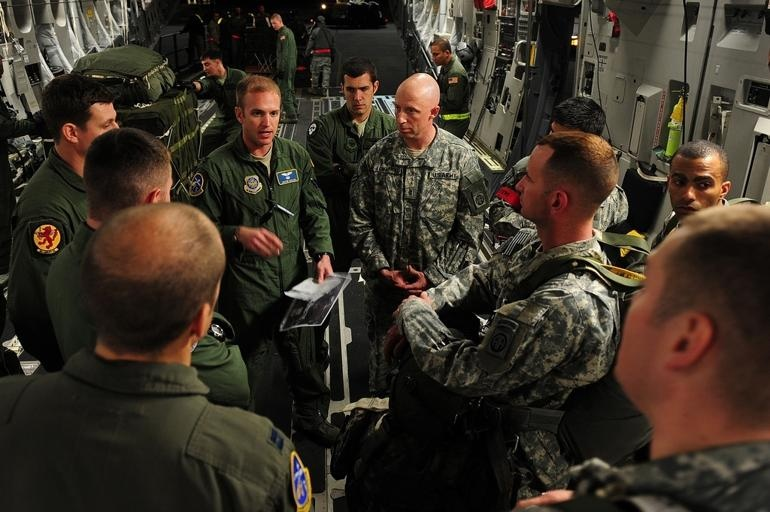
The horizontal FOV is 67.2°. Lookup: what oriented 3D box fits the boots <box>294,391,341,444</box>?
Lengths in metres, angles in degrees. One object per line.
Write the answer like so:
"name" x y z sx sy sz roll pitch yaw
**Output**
"boots" -0.436 1.057 4.114 0.296 0.304 0.412 14 51 -2
